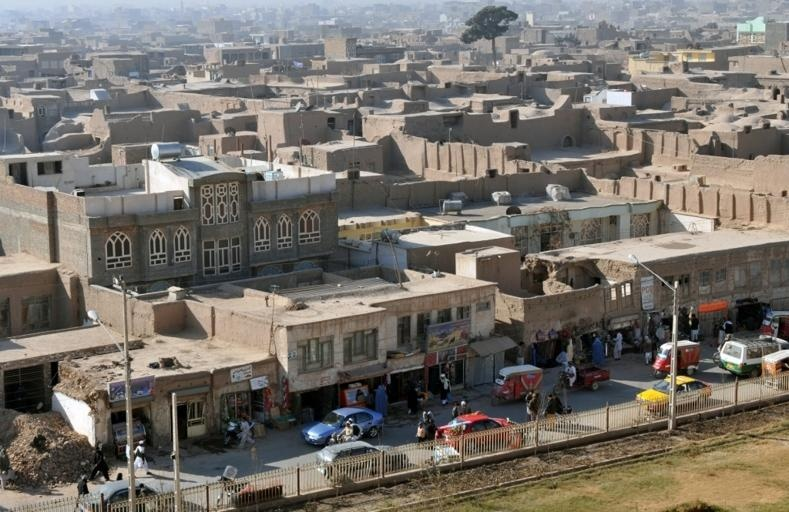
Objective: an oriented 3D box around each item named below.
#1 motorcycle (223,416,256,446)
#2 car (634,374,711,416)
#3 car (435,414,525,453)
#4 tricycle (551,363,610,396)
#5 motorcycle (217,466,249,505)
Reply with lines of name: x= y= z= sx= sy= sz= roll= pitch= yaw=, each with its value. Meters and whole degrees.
motorcycle: x=-8.055 y=9.080 z=62.771 sx=1.863 sy=0.997 sz=0.894 roll=4 pitch=-8 yaw=-43
car: x=14.809 y=7.426 z=65.088 sx=3.656 sy=1.499 sz=2.014 roll=-5 pitch=9 yaw=-29
car: x=4.069 y=9.052 z=61.541 sx=3.477 sy=1.709 sz=1.589 roll=0 pitch=1 yaw=-14
tricycle: x=10.553 y=6.862 z=68.369 sx=2.937 sy=1.207 sz=1.445 roll=0 pitch=5 yaw=-15
motorcycle: x=-7.547 y=10.635 z=56.229 sx=0.498 sy=1.499 sz=1.567 roll=4 pitch=17 yaw=22
